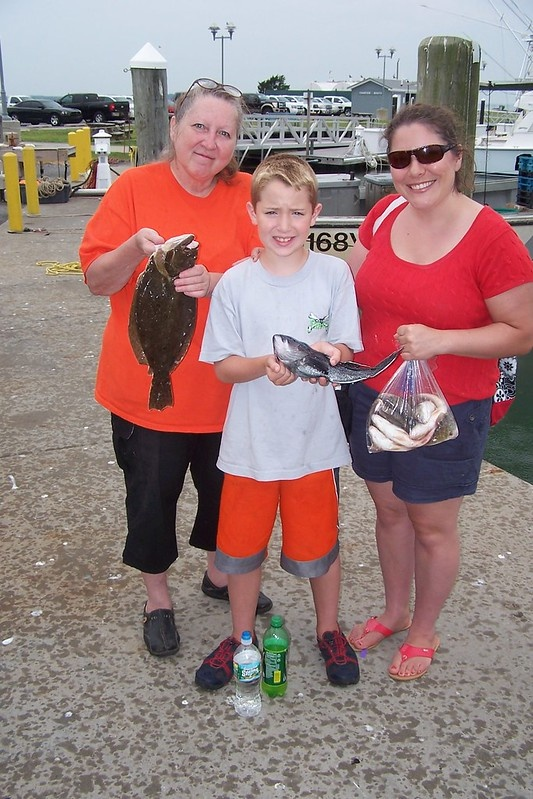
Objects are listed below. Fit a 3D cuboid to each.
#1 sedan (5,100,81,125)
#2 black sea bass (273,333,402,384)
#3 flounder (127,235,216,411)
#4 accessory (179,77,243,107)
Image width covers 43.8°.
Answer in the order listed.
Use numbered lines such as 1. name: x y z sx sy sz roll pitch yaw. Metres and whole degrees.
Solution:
1. sedan: -12.482 -16.023 37.130 3.706 1.486 1.538 10 24 26
2. black sea bass: 0.172 -0.090 1.763 0.316 0.118 0.086 17 34 3
3. flounder: -0.282 -0.236 1.977 0.372 0.407 0.268 -7 38 -48
4. accessory: -0.179 -0.895 1.926 0.181 0.070 0.225 3 21 9
